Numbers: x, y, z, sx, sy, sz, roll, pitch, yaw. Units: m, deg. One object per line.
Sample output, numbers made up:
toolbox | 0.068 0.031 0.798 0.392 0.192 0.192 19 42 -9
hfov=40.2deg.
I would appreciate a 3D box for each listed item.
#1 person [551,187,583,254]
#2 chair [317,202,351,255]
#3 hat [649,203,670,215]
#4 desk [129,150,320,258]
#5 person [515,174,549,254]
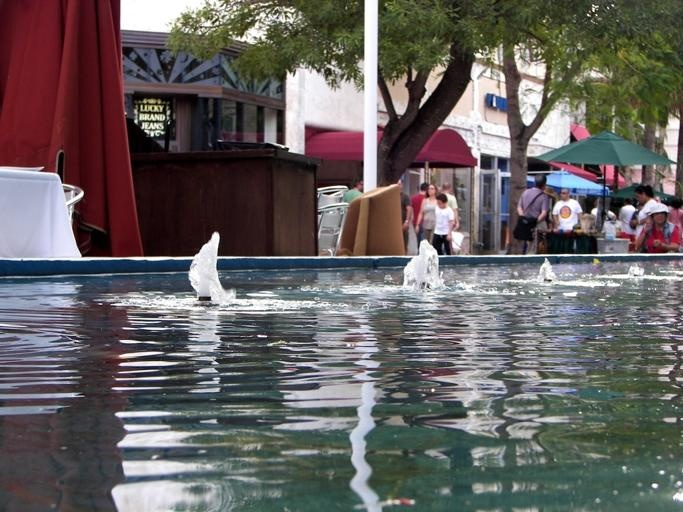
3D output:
person | 3.768 -0.601 15.554 0.425 1.073 0.862 -1 0 14
chair | -0.165 -0.385 12.859 0.605 0.684 0.646 3 0 4
hat | 5.119 -0.761 15.033 0.284 0.141 0.407 -2 -6 9
desk | -1.397 -0.651 11.189 1.459 1.460 1.501 0 1 4
person | 3.115 -0.615 15.493 0.507 1.553 0.519 8 30 6
